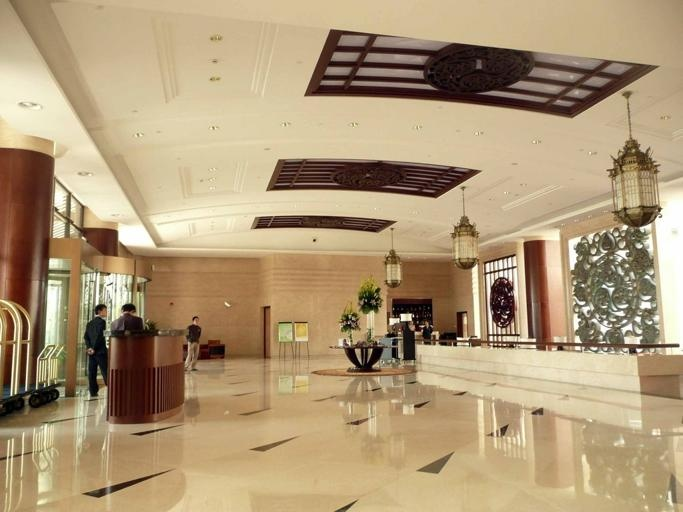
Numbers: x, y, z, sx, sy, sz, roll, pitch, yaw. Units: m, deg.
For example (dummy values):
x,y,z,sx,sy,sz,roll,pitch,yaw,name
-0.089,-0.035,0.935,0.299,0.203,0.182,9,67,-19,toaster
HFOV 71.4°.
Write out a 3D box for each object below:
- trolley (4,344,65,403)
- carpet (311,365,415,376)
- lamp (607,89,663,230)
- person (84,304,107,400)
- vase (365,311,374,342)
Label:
x,y,z,sx,sy,sz,roll,pitch,yaw,name
-5.351,2.033,8.234,0.477,0.699,1.577,3,-12,-22,trolley
0.701,3.241,13.178,2.578,0.143,2.609,-6,-12,21,carpet
5.225,-1.627,8.492,0.727,2.579,2.130,-10,-15,35,lamp
-4.744,1.832,9.167,0.431,1.789,0.706,5,-14,-28,person
0.829,1.980,13.337,0.174,0.867,0.388,-2,-12,-1,vase
